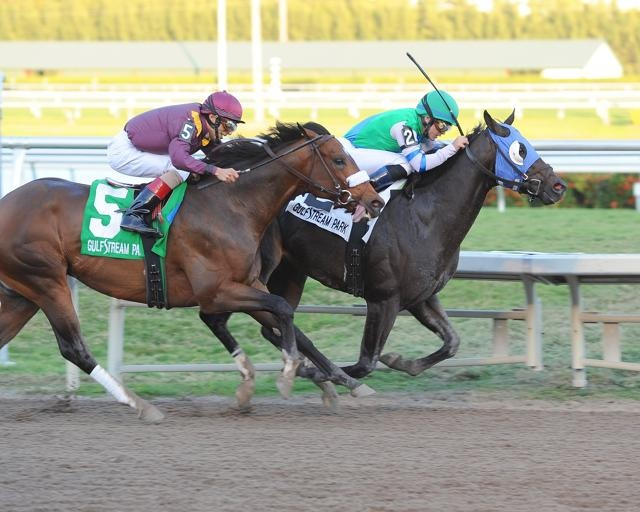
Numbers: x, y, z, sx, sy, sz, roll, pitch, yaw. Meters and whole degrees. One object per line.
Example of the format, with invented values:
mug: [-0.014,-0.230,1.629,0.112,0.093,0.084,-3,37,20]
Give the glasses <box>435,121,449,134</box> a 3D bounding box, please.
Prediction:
glasses: [0.696,-0.745,5.176,0.075,0.036,0.078,-2,34,-32]

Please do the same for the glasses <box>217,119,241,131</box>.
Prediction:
glasses: [-0.494,-0.720,4.917,0.108,0.028,0.069,9,6,25]

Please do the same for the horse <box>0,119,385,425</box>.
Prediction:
horse: [-0.758,0.099,4.930,2.072,1.646,0.578,0,15,1]

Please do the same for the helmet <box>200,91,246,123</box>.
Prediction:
helmet: [-0.551,-0.829,4.909,0.310,0.125,0.193,10,11,-18]

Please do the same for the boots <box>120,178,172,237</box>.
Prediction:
boots: [-0.909,-0.257,4.764,0.274,0.295,0.165,-2,14,-7]
